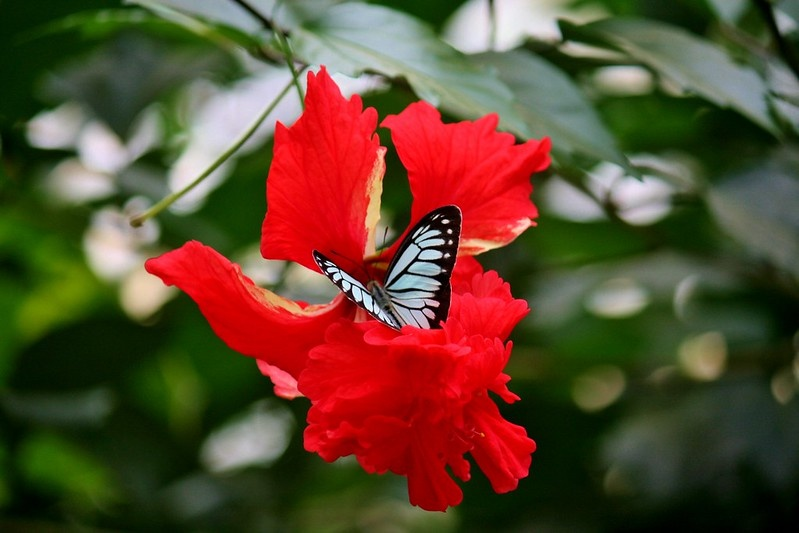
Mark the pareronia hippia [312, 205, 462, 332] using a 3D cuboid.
[{"bbox_3d":[0.006,-0.007,1.144,0.242,0.122,0.170,-11,-73,20],"label":"pareronia hippia"}]
